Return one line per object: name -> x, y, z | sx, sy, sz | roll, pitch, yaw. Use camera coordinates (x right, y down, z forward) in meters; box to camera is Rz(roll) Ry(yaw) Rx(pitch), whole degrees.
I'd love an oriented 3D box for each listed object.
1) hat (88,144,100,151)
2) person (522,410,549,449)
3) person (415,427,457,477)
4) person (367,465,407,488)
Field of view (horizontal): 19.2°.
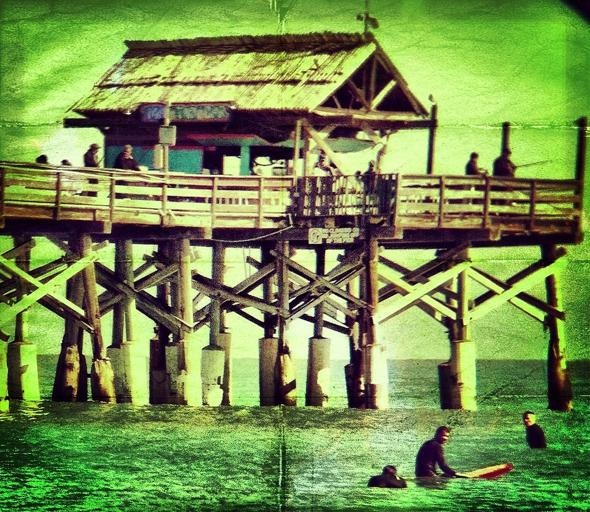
hat -> -5.212, -2.903, 45.700 | 0.344, 0.265, 0.092 | -1, -6, 4
person -> 6.141, 4.535, 44.513 | 0.590, 0.951, 1.868 | 1, -4, 8
person -> 3.449, 4.932, 42.454 | 1.073, 1.145, 0.974 | -4, 24, -17
person -> 2.239, 5.418, 41.815 | 0.533, 0.732, 0.273 | 4, -10, 22
